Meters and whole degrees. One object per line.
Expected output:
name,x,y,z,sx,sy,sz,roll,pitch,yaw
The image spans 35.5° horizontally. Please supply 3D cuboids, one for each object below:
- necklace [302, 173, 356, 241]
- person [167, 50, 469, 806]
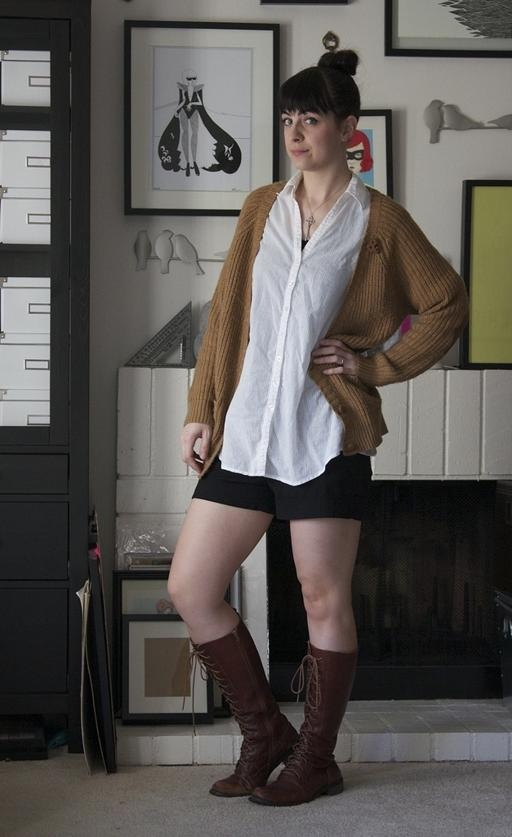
necklace,0.124,-0.415,1.507,0.082,0.149,0.038,7,-8,14
person,0.125,0.061,1.584,0.538,1.493,0.258,3,7,11
